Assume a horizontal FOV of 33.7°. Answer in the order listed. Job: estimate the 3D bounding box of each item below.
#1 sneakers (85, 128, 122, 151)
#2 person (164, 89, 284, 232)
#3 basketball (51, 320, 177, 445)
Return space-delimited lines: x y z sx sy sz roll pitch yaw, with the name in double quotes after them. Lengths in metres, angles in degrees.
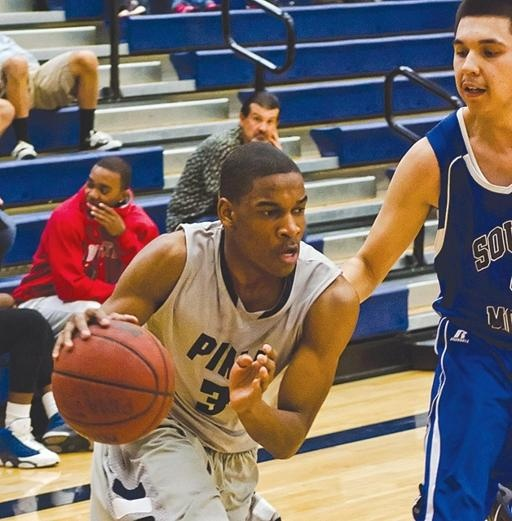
-0.798 -0.632 4.455 0.142 0.062 0.112 5 7 4 "sneakers"
-0.079 -0.404 4.036 0.543 0.783 0.534 14 3 -10 "person"
-0.275 0.224 1.815 0.251 0.260 0.249 1 3 25 "basketball"
